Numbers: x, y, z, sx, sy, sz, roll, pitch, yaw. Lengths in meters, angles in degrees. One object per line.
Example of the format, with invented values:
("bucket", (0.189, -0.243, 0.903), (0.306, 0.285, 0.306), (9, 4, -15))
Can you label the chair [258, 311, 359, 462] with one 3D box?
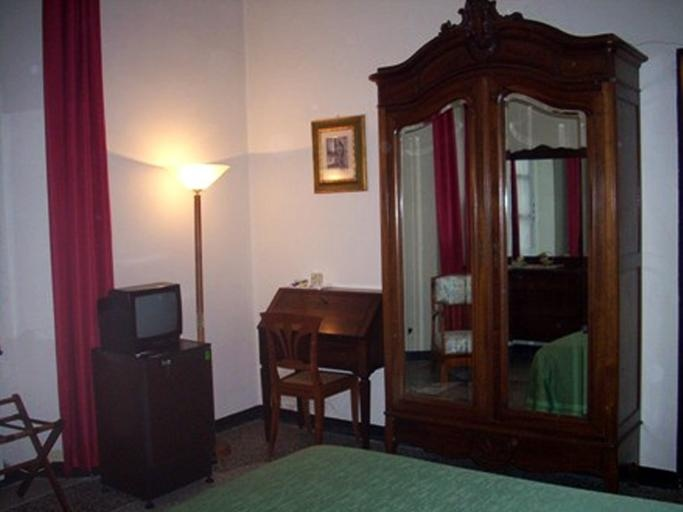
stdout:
("chair", (-0.201, 0.896, 4.171), (0.519, 1.044, 0.578), (1, 5, 28))

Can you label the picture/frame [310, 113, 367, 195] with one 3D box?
("picture/frame", (-0.004, -0.812, 4.493), (0.592, 0.820, 0.054), (0, 2, 26))

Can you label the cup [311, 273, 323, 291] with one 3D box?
("cup", (-0.204, 0.210, 4.568), (0.098, 0.182, 0.107), (0, 2, 0))

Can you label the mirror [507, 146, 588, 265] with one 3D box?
("mirror", (1.191, -0.305, 3.337), (0.386, 0.727, 0.045), (-1, -14, 21))

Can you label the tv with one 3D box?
("tv", (-1.348, 0.397, 3.823), (0.385, 0.428, 0.428), (2, 6, 31))

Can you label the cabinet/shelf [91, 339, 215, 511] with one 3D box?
("cabinet/shelf", (-1.249, 1.069, 3.842), (0.524, 0.916, 0.611), (0, 0, 26))
